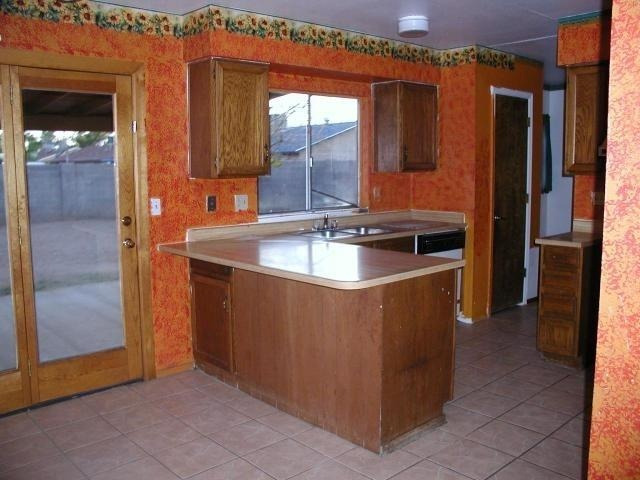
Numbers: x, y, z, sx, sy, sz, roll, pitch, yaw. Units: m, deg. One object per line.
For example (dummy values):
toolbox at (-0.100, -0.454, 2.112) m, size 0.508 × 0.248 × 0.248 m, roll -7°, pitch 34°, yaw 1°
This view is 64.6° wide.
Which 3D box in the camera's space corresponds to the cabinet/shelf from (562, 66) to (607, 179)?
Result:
cabinet/shelf at (2.227, -1.013, 4.296) m, size 0.353 × 0.909 × 0.180 m, roll 7°, pitch 14°, yaw 33°

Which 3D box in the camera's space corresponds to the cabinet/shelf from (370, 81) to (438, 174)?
cabinet/shelf at (0.907, -1.175, 5.272) m, size 0.707 × 0.904 × 0.462 m, roll -1°, pitch 11°, yaw -2°

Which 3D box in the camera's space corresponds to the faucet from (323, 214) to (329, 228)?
faucet at (0.056, -0.189, 5.014) m, size 0.057 × 0.149 × 0.092 m, roll -1°, pitch 11°, yaw 0°

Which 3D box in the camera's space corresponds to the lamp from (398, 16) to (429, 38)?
lamp at (0.799, -1.833, 4.354) m, size 0.264 × 0.139 × 0.222 m, roll 1°, pitch 11°, yaw 9°

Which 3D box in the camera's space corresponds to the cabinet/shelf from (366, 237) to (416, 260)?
cabinet/shelf at (0.702, 0.134, 4.766) m, size 0.356 × 0.311 × 0.181 m, roll -4°, pitch 6°, yaw -44°

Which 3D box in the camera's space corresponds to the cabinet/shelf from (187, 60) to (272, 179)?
cabinet/shelf at (-0.761, -0.986, 4.173) m, size 0.694 × 0.947 × 0.401 m, roll -3°, pitch 12°, yaw -9°
